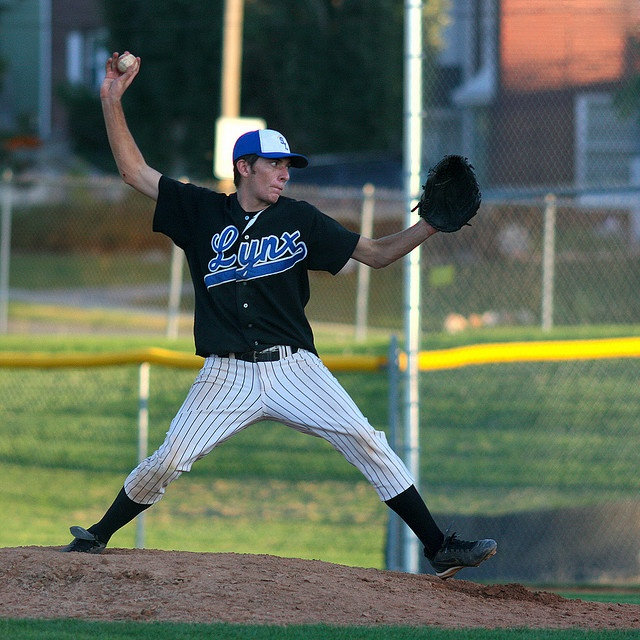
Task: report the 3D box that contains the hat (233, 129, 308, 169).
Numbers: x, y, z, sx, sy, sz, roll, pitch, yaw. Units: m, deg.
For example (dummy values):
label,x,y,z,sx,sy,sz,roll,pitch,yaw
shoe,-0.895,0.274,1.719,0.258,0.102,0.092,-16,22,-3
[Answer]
label,x,y,z,sx,sy,sz,roll,pitch,yaw
hat,-0.248,-0.860,8.059,0.302,0.168,0.190,1,2,18

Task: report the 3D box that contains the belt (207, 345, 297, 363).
label,x,y,z,sx,sy,sz,roll,pitch,yaw
belt,-0.305,0.174,7.884,0.394,0.082,0.064,2,10,-6

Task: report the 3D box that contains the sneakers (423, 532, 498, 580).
label,x,y,z,sx,sy,sz,roll,pitch,yaw
sneakers,0.690,1.177,8.005,0.372,0.194,0.159,-23,18,31

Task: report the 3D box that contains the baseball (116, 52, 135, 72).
label,x,y,z,sx,sy,sz,roll,pitch,yaw
baseball,-0.980,-1.295,8.105,0.076,0.103,0.033,38,-2,-3

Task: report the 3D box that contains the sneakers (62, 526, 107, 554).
label,x,y,z,sx,sy,sz,roll,pitch,yaw
sneakers,-1.177,1.145,8.013,0.199,0.078,0.116,35,-9,-5
